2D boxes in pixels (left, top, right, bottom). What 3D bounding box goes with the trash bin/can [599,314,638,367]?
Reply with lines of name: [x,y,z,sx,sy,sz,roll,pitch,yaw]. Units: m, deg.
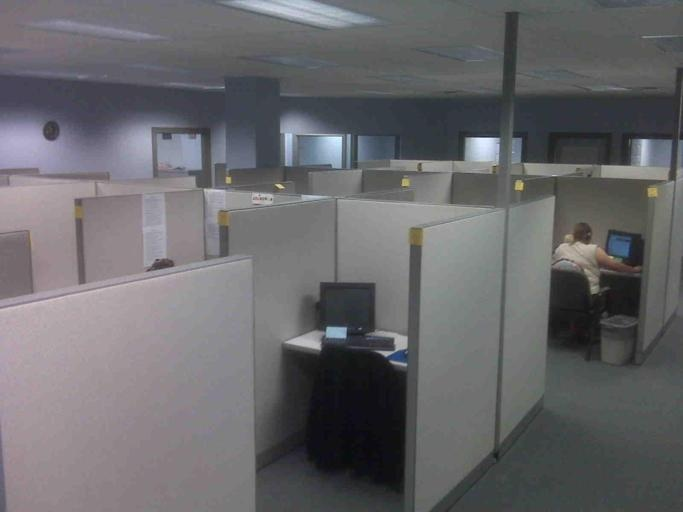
trash bin/can: [2.545,0.790,4.889,0.381,0.386,0.265,-4,9,-34]

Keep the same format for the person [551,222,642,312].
person: [2.544,0.049,5.400,0.548,0.902,0.956,-29,31,-23]

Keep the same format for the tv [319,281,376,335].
tv: [0.042,0.310,3.497,0.362,0.337,0.195,2,16,2]

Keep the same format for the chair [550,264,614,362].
chair: [2.257,0.427,5.094,0.535,0.796,0.514,-14,16,-40]
